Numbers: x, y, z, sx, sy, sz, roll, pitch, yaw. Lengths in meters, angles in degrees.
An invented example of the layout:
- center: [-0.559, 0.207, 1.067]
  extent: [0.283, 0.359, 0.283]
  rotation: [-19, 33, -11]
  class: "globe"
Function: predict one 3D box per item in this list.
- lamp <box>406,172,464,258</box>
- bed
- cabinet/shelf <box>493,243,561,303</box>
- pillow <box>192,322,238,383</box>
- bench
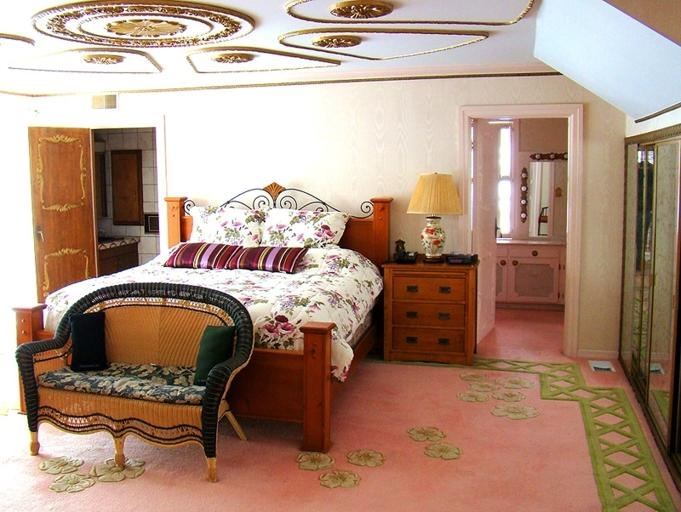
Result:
- center: [0.916, -0.402, 5.059]
  extent: [0.481, 0.811, 0.462]
  rotation: [2, 12, 12]
  class: "lamp"
- center: [-0.614, 0.472, 4.550]
  extent: [2.423, 1.499, 2.339]
  rotation: [1, 6, 14]
  class: "bed"
- center: [2.414, 0.183, 6.643]
  extent: [0.828, 0.690, 0.431]
  rotation: [1, 4, 14]
  class: "cabinet/shelf"
- center: [-0.796, 0.620, 3.288]
  extent: [0.222, 0.317, 0.266]
  rotation: [1, 12, 4]
  class: "pillow"
- center: [-1.269, 0.745, 3.428]
  extent: [1.437, 1.011, 0.767]
  rotation: [3, 12, 14]
  class: "bench"
